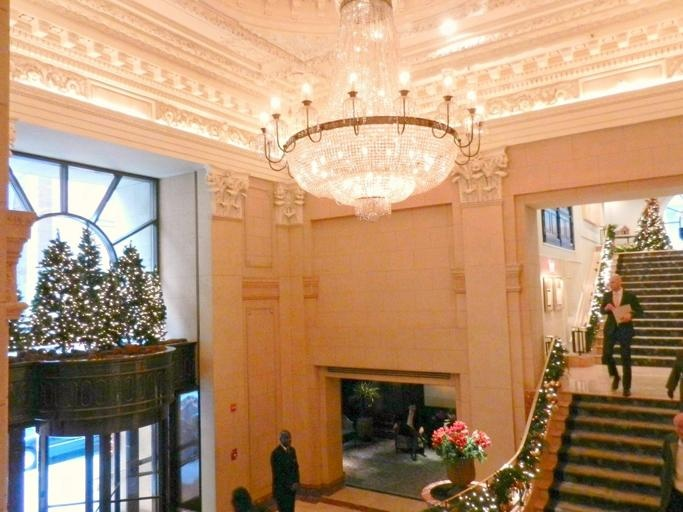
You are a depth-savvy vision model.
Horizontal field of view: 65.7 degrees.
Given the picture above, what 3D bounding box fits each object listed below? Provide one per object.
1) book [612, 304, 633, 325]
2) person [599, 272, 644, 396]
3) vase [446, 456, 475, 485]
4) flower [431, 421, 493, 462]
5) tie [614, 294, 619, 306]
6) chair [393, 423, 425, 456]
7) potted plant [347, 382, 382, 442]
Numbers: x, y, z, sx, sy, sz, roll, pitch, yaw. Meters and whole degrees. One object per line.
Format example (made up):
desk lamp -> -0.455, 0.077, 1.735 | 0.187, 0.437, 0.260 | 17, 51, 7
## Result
book -> 4.563, 0.938, 8.584 | 0.280, 0.308, 0.147 | -6, -6, 26
person -> 4.774, 1.321, 9.047 | 0.618, 1.968, 1.385 | -6, -6, 26
vase -> 1.768, 3.078, 7.644 | 0.396, 0.414, 0.392 | 5, -13, -19
flower -> 1.789, 2.846, 7.884 | 0.807, 0.690, 0.772 | -11, -13, 31
tie -> 4.595, 0.710, 8.848 | 0.037, 0.151, 0.108 | 0, -13, 10
chair -> 1.702, 4.685, 13.601 | 0.679, 0.852, 0.637 | -12, -38, 31
potted plant -> 0.621, 4.362, 15.014 | 0.980, 1.540, 0.842 | -4, -5, 13
